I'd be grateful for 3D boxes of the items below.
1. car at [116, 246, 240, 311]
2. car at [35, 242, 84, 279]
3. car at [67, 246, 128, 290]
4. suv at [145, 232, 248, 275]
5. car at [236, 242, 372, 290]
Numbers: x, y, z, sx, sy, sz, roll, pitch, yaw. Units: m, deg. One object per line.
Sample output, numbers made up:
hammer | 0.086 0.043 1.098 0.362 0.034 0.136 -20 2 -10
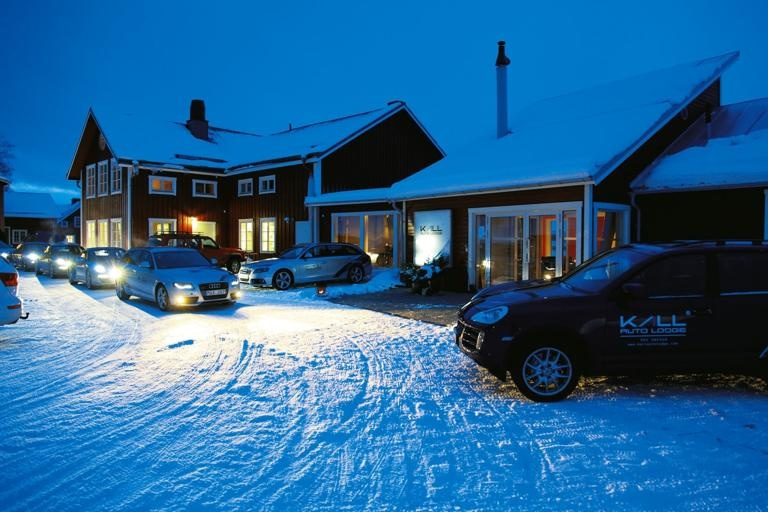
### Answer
car | -5.545 0.611 15.840 3.435 1.429 1.828 13 19 41
car | -12.987 0.160 23.795 1.616 1.259 3.806 -1 1 -39
car | -9.779 0.405 20.042 1.417 1.024 3.023 0 -1 -39
suv | -7.397 -0.115 24.018 3.714 1.707 1.743 -2 2 -29
car | -2.582 0.386 19.866 3.819 1.236 1.740 1 -2 -32
